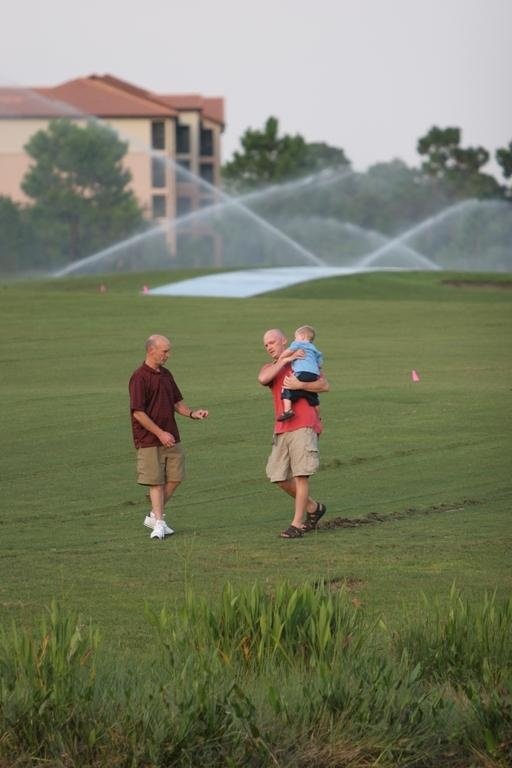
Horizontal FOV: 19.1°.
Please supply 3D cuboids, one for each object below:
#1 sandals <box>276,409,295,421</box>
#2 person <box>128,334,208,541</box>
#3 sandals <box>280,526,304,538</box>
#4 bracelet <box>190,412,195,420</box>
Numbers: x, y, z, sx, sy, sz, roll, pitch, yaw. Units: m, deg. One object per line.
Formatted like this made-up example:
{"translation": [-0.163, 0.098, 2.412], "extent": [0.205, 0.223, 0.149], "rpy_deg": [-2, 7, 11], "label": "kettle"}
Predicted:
{"translation": [0.192, 0.205, 10.309], "extent": [0.061, 0.093, 0.143], "rpy_deg": [-7, 10, -43], "label": "sandals"}
{"translation": [-0.670, 0.340, 10.487], "extent": [0.448, 1.355, 0.933], "rpy_deg": [0, 7, 2], "label": "person"}
{"translation": [0.243, 0.959, 10.116], "extent": [0.165, 0.076, 0.239], "rpy_deg": [0, 8, 1], "label": "sandals"}
{"translation": [-0.455, 0.214, 10.858], "extent": [0.046, 0.069, 0.027], "rpy_deg": [-9, 6, -41], "label": "bracelet"}
